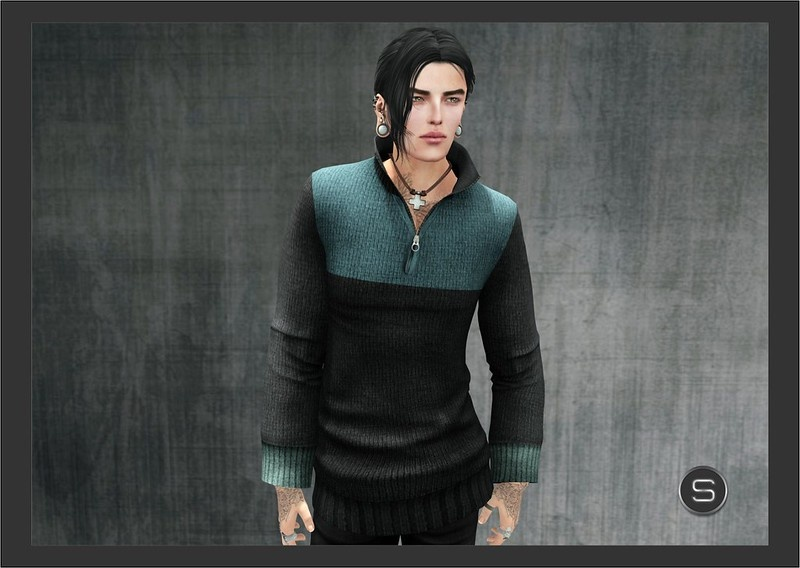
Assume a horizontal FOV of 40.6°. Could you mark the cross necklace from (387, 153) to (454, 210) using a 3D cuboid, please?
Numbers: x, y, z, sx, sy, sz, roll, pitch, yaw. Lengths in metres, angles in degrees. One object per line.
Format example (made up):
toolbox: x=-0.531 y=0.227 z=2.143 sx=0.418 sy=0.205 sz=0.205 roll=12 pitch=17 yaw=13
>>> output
cross necklace: x=0.057 y=-0.345 z=3.696 sx=0.203 sy=0.198 sz=0.027 roll=8 pitch=-26 yaw=-4

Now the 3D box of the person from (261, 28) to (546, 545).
person: x=0.016 y=0.037 z=3.778 sx=0.945 sy=1.572 sz=0.334 roll=1 pitch=0 yaw=8
